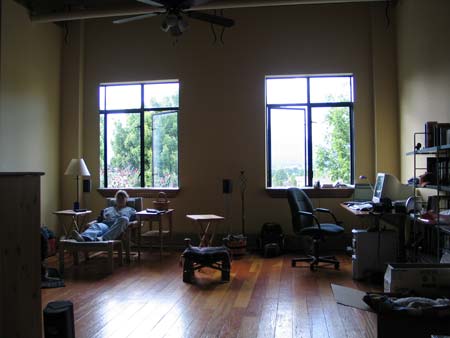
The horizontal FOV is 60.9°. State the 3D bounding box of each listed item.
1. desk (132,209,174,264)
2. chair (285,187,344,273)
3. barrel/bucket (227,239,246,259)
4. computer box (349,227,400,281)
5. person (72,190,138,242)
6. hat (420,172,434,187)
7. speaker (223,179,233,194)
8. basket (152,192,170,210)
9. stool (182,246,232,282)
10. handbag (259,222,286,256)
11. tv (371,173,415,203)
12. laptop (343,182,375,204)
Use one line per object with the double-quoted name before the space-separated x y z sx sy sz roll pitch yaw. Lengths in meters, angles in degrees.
"desk" -1.203 1.073 6.530 0.533 0.746 0.618 -1 1 2
"chair" 1.384 0.895 5.902 0.779 1.222 0.794 -3 -1 41
"barrel/bucket" 0.168 1.310 6.443 0.308 0.337 0.330 -1 -6 0
"computer box" 2.061 1.185 5.441 0.545 0.649 0.376 -2 -1 5
"person" -1.915 0.767 6.352 0.801 0.911 1.453 1 -5 4
"hat" 2.534 0.135 4.868 0.112 0.174 0.172 3 15 10
"speaker" 0.041 0.291 6.693 0.143 0.224 0.217 1 6 9
"basket" -1.103 0.562 6.690 0.263 0.372 0.332 0 -6 1
"stool" -0.269 1.389 5.604 0.824 0.455 0.855 1 -8 -23
"handbag" 0.809 1.216 6.700 0.369 0.527 0.530 2 27 8
"tv" 2.579 0.327 5.857 0.699 0.431 0.681 8 2 -41
"laptop" 2.235 0.391 6.260 0.322 0.264 0.276 -1 -4 44
